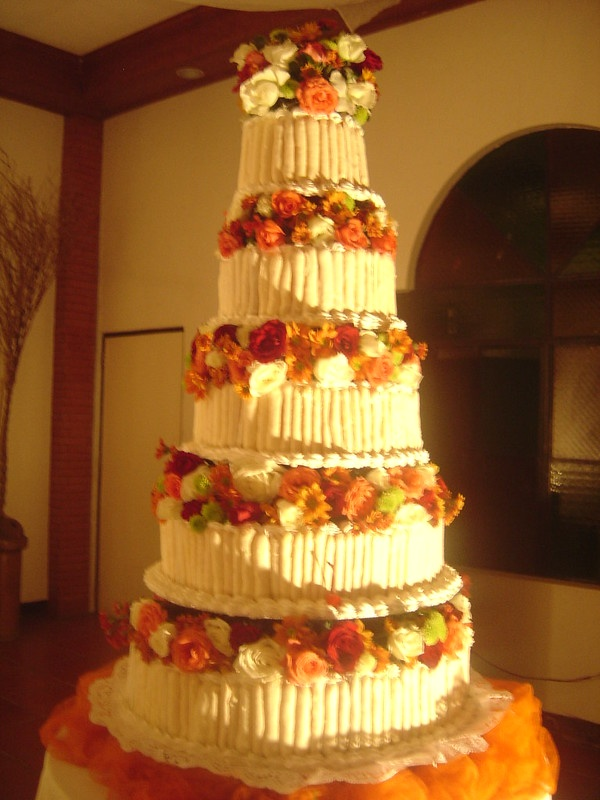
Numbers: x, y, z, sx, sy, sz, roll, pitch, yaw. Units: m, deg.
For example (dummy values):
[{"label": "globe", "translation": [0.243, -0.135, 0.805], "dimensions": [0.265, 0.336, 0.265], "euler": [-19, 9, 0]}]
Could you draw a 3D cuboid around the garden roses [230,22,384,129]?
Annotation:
[{"label": "garden roses", "translation": [0.034, -1.161, 2.589], "dimensions": [0.409, 0.421, 0.160], "euler": [-22, -1, 3]}]
